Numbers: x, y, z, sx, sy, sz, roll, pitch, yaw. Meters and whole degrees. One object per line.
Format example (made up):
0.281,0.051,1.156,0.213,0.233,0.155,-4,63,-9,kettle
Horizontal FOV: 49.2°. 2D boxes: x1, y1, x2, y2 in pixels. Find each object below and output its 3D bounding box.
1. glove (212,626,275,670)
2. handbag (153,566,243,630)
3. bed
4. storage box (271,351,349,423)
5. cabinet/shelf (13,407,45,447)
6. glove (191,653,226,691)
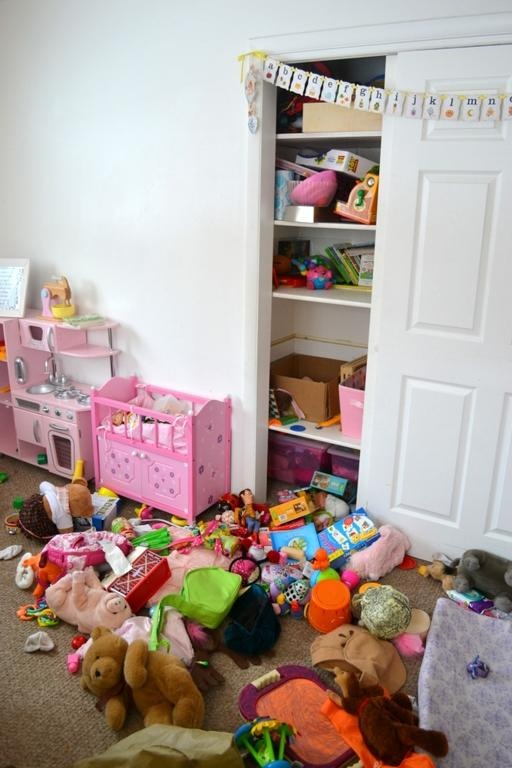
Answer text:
-0.043,0.788,1.672,0.093,0.011,0.089,15,16,42,glove
-0.150,0.670,1.795,0.142,0.067,0.219,19,17,29,handbag
-0.422,0.259,2.489,0.557,0.481,0.336,12,19,29,bed
0.240,0.004,2.623,0.326,0.206,0.329,11,22,31,storage box
-1.135,0.207,2.793,0.174,0.168,0.119,11,16,32,cabinet/shelf
-0.145,0.817,1.586,0.087,0.037,0.125,-4,22,-24,glove
